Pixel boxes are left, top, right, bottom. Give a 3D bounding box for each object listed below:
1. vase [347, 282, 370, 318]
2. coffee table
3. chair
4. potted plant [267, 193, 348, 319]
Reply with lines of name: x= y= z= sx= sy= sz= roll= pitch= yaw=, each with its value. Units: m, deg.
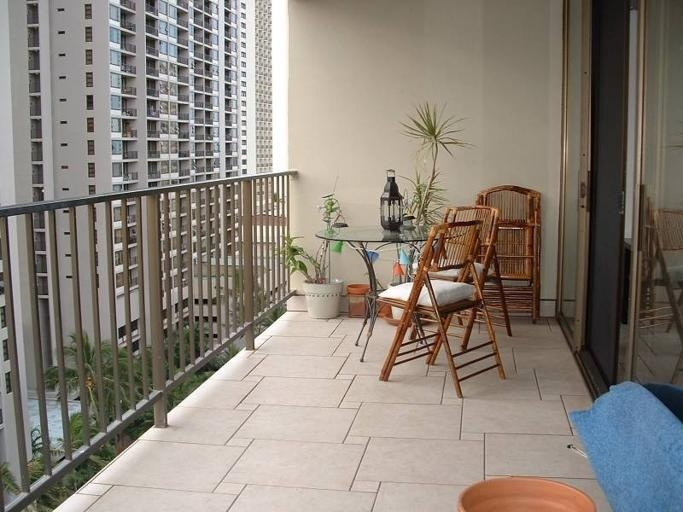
vase: x=0.173 y=0.462 z=5.008 sx=0.265 sy=0.288 sz=0.275 roll=-2 pitch=4 yaw=-18
coffee table: x=0.345 y=0.292 z=4.139 sx=0.969 sy=0.983 sz=0.976 roll=1 pitch=5 yaw=-2
chair: x=0.867 y=0.228 z=3.851 sx=0.878 sy=1.205 sz=1.505 roll=2 pitch=11 yaw=20
potted plant: x=-0.343 y=0.022 z=5.172 sx=0.741 sy=1.312 sz=0.487 roll=-3 pitch=-9 yaw=38
